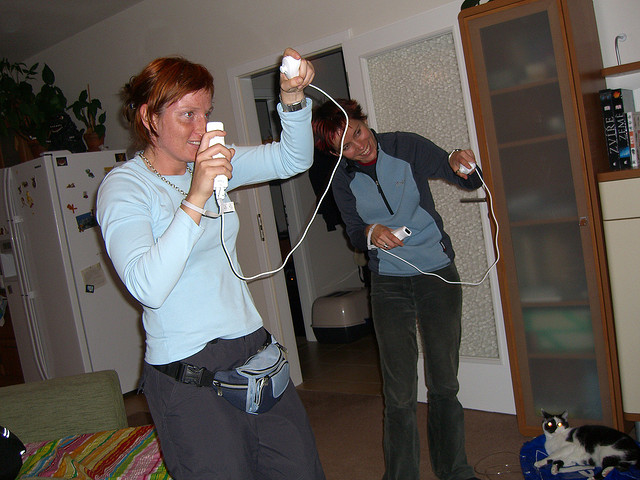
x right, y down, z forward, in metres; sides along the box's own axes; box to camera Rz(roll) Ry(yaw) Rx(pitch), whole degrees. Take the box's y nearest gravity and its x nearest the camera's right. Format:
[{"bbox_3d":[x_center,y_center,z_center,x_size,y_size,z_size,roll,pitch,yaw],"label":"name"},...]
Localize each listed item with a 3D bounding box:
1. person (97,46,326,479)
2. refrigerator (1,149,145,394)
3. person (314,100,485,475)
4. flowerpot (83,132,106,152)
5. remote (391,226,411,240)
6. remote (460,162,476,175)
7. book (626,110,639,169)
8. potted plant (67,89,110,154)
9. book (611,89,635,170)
[{"bbox_3d":[-0.278,0.118,1.458,0.676,0.967,0.404,-11,6,-26],"label":"person"},{"bbox_3d":[-1.839,0.221,3.494,0.988,2.032,0.860,-5,6,42],"label":"refrigerator"},{"bbox_3d":[0.433,0.200,2.275,0.723,1.832,0.384,-8,5,1],"label":"person"},{"bbox_3d":[-2.075,-0.896,4.302,0.168,0.149,0.173,-2,8,-10],"label":"flowerpot"},{"bbox_3d":[0.363,-0.033,2.156,0.084,0.056,0.066,-5,7,26],"label":"remote"},{"bbox_3d":[0.659,-0.314,2.120,0.050,0.044,0.055,-8,-17,38],"label":"remote"},{"bbox_3d":[1.563,-0.509,2.358,0.051,0.281,0.084,-3,8,43],"label":"book"},{"bbox_3d":[-2.106,-1.042,4.352,0.330,0.467,0.260,-13,-4,-11],"label":"potted plant"},{"bbox_3d":[1.504,-0.542,2.358,0.073,0.402,0.269,-9,2,31],"label":"book"}]
